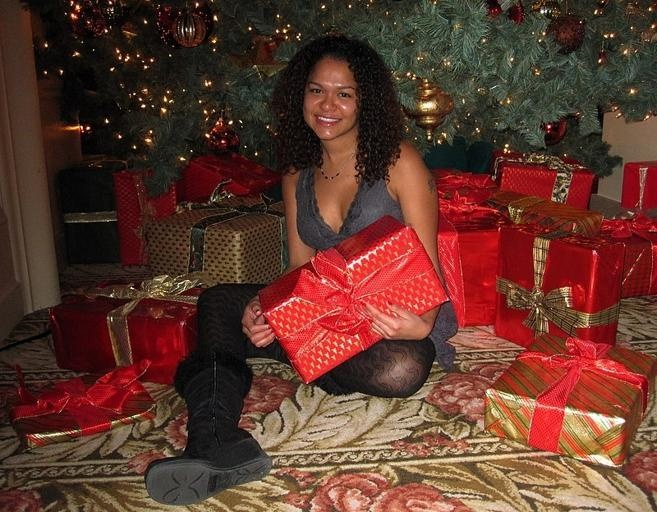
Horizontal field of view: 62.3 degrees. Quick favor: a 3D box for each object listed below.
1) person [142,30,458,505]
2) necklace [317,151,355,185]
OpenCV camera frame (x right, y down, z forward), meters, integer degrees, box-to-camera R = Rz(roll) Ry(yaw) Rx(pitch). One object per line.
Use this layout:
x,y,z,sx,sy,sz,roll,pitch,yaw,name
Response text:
-0.051,-0.040,1.475,0.811,1.185,0.774,4,10,12,person
0.035,-0.282,1.721,0.121,0.099,0.035,-12,13,32,necklace
